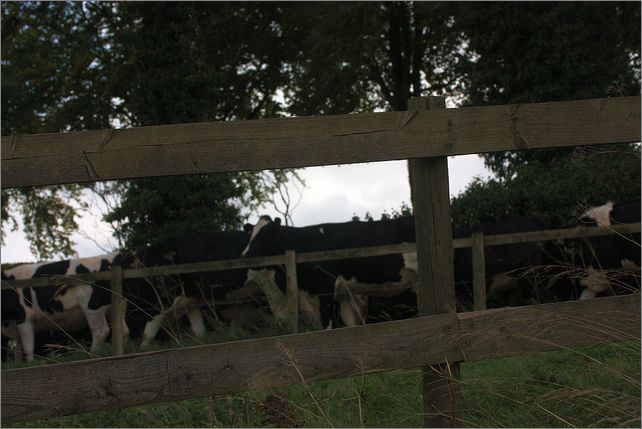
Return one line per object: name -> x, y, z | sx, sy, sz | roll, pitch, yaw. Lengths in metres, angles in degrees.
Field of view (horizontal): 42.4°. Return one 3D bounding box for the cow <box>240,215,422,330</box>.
cow -> 0.356, 1.060, 16.956 | 3.190, 1.939, 0.887 | -6, 2, 4
